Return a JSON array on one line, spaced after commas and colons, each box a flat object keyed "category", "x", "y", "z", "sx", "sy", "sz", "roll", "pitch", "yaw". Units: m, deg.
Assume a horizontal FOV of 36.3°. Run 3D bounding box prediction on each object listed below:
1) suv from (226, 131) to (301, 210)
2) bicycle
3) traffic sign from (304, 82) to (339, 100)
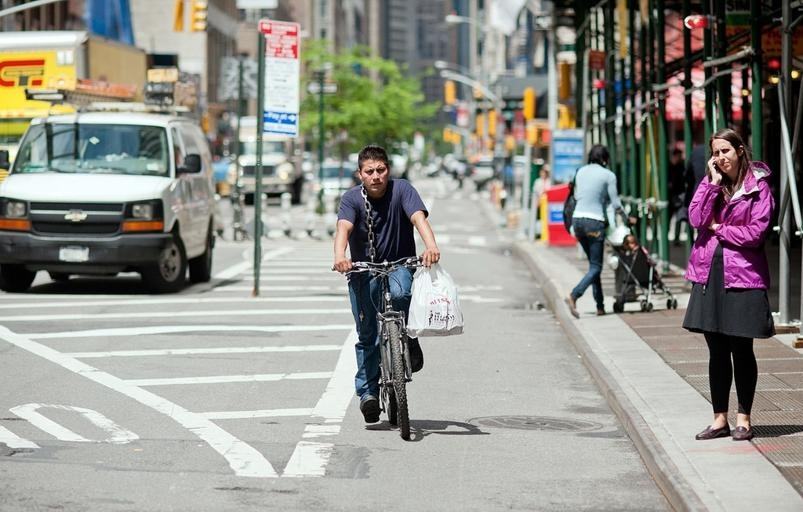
[{"category": "suv", "x": -5.090, "y": -2.820, "z": 42.806, "sx": 2.697, "sy": 2.451, "sz": 4.456, "roll": 0, "pitch": -1, "yaw": -4}, {"category": "bicycle", "x": -0.137, "y": 0.862, "z": 11.609, "sx": 0.708, "sy": 1.037, "sz": 1.706, "roll": -4, "pitch": -2, "yaw": -3}, {"category": "traffic sign", "x": -2.931, "y": -6.079, "z": 44.919, "sx": 1.928, "sy": 0.467, "sz": 1.790, "roll": 1, "pitch": 7, "yaw": 3}]
